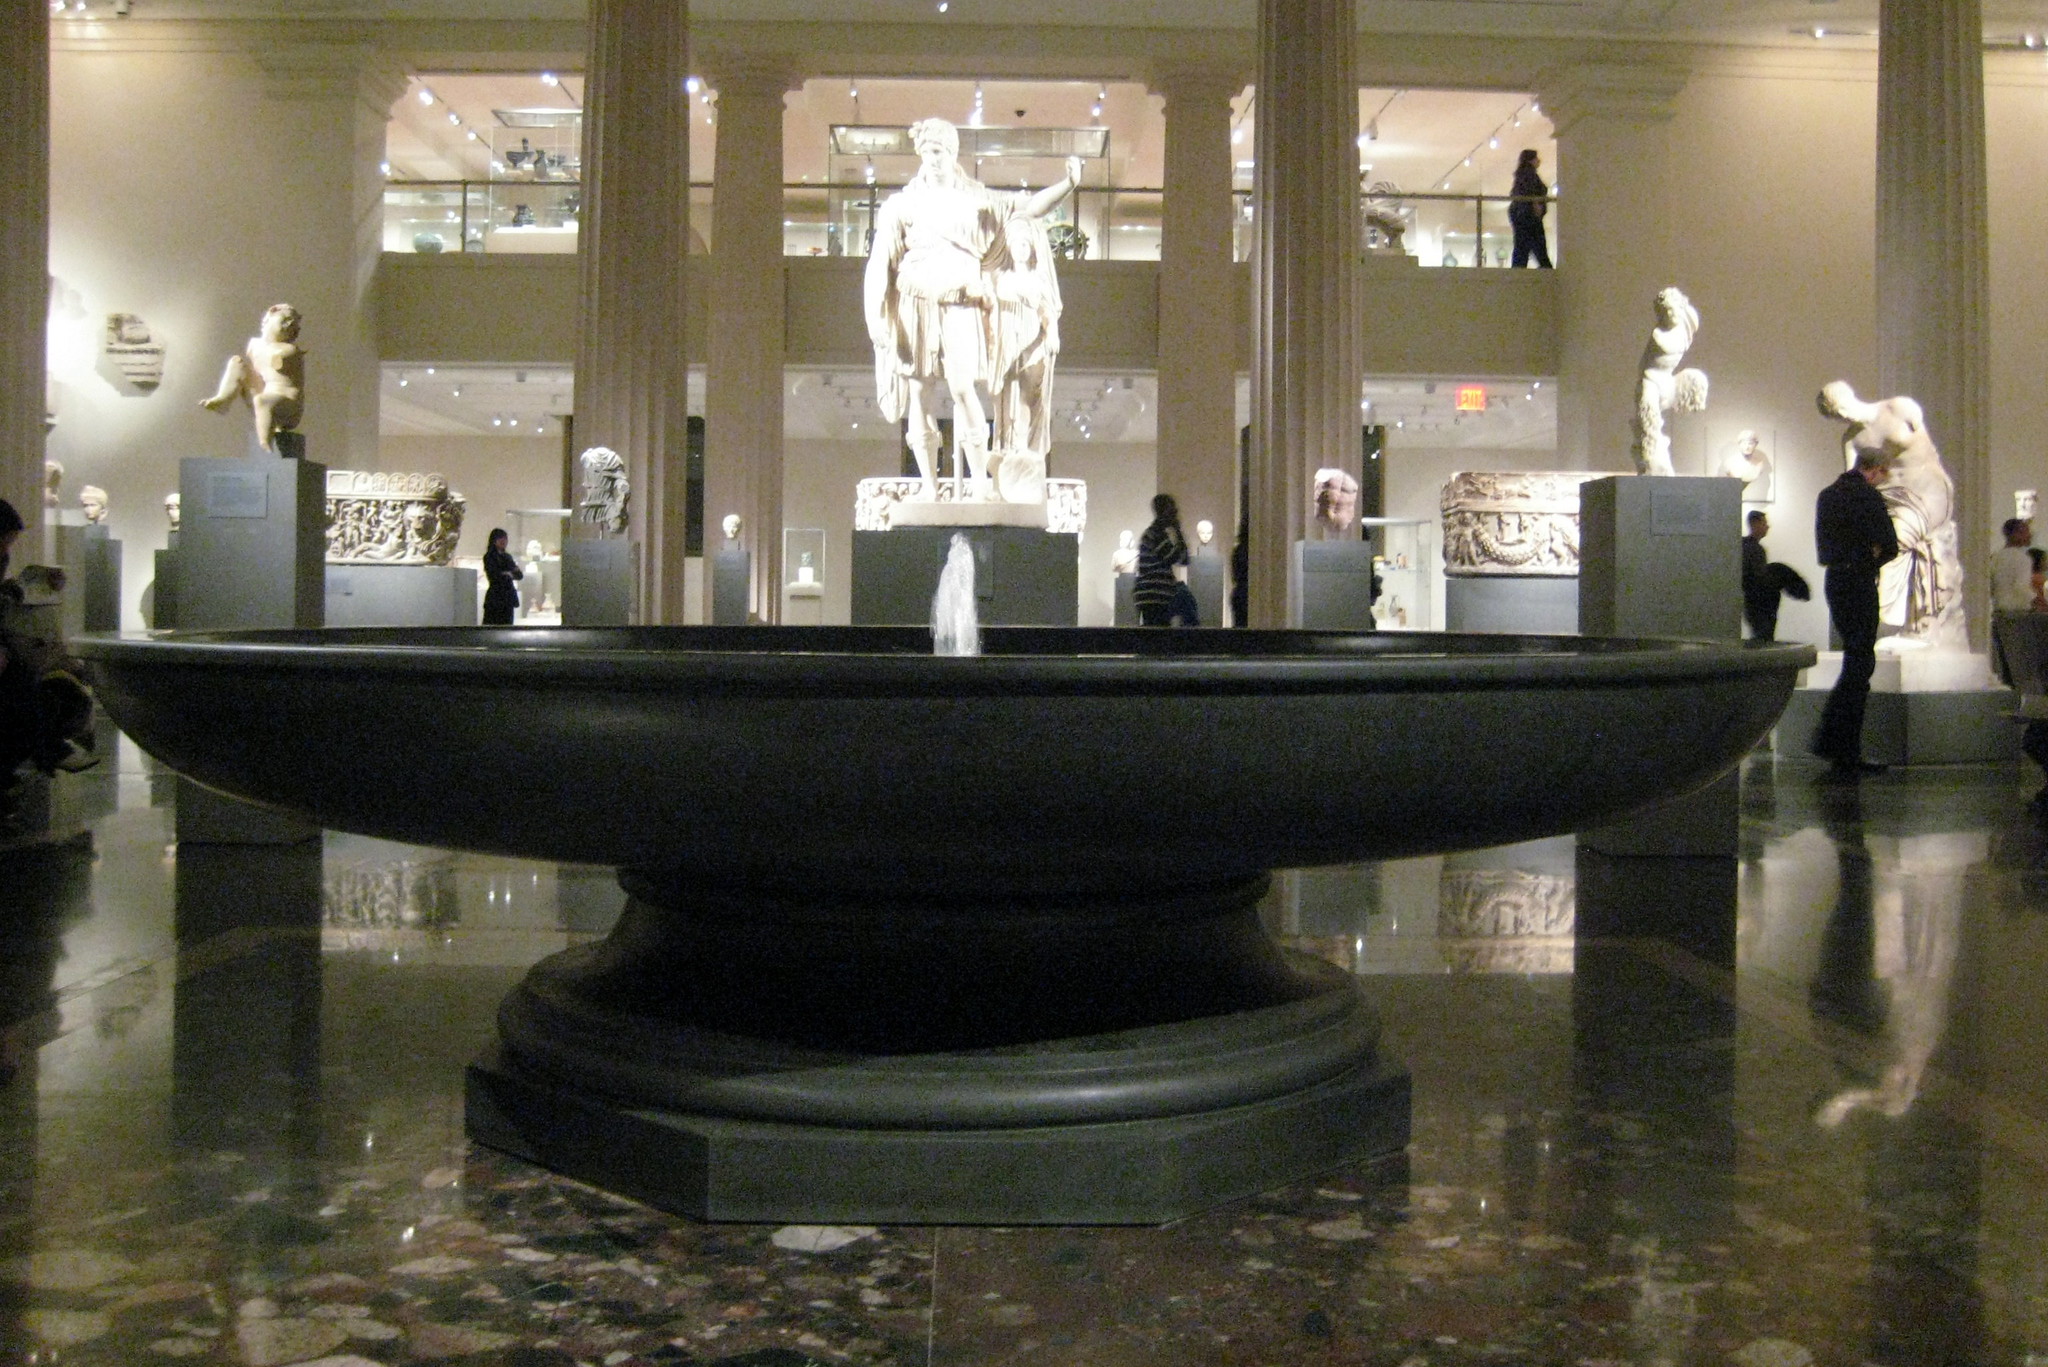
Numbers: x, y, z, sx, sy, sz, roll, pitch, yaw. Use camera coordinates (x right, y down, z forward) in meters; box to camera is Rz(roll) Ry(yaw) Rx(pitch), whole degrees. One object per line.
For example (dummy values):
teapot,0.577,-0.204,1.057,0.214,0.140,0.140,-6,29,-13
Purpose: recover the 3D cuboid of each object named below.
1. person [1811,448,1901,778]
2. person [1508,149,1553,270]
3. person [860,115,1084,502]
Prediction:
person,4.827,-0.384,10.088,0.421,1.939,0.982,6,14,25
person,6.327,-5.896,21.454,0.555,1.457,0.827,4,13,14
person,-0.491,-2.861,13.396,1.486,2.842,0.925,0,12,-3
